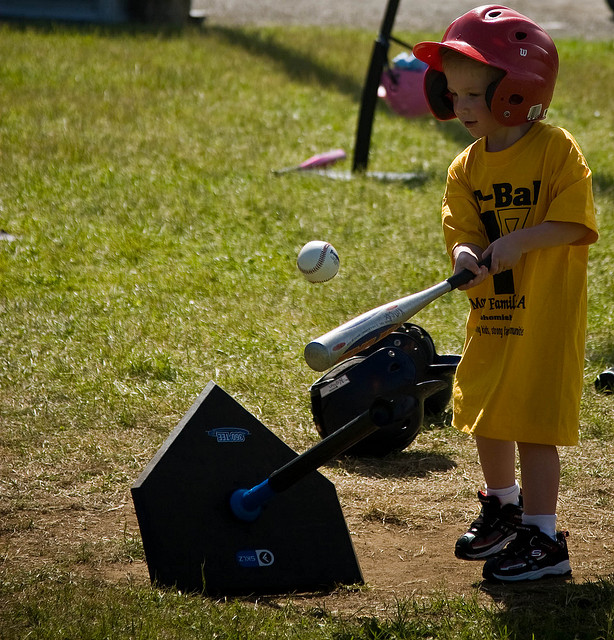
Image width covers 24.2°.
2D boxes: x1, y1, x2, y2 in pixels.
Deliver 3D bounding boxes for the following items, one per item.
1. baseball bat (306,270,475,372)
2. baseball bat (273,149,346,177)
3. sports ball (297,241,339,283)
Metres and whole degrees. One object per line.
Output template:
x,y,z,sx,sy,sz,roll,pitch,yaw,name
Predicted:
0.322,0.015,5.509,1.013,0.128,0.110,-23,73,-36,baseball bat
0.023,-0.955,8.633,0.139,0.103,0.685,29,29,36,baseball bat
0.060,-0.262,6.024,0.202,0.166,0.182,-6,16,-17,sports ball
